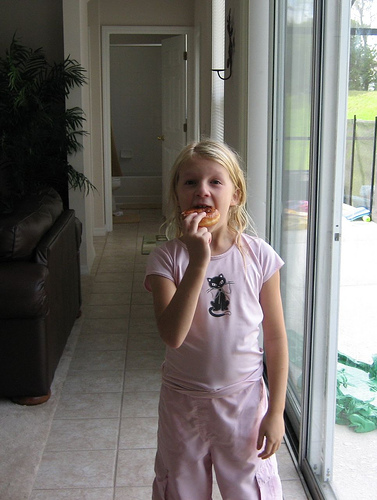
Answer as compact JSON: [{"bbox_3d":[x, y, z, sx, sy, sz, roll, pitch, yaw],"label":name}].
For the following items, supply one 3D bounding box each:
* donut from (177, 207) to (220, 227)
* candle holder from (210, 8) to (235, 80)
[{"bbox_3d":[0.019,-0.054,0.650,0.061,0.030,0.068,0,6,3],"label":"donut"},{"bbox_3d":[0.238,-1.463,2.871,0.144,0.491,0.445,0,6,3],"label":"candle holder"}]
